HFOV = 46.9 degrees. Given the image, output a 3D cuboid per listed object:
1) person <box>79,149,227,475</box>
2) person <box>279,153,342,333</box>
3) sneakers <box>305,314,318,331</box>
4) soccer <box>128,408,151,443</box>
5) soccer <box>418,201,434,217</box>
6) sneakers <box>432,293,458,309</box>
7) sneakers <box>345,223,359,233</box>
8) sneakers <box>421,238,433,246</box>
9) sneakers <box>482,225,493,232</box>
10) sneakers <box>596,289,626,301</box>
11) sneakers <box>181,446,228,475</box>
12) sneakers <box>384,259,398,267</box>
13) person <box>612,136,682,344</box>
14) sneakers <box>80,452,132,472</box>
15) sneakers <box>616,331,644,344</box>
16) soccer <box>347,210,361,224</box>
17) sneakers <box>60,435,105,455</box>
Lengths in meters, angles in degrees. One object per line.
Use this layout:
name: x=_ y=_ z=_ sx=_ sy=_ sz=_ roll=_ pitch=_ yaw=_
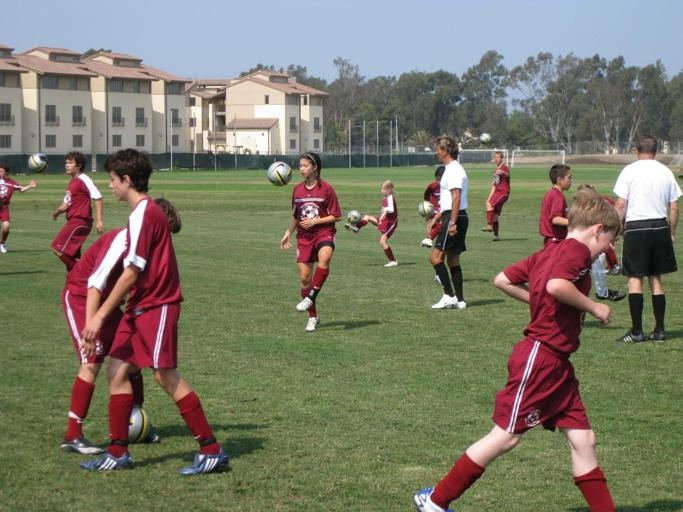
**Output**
person: x=-1.366 y=0.388 z=5.802 sx=1.056 sy=2.321 sz=0.594 roll=1 pitch=10 yaw=7
person: x=-0.377 y=-0.215 z=9.797 sx=0.716 sy=2.128 sz=1.054 roll=-1 pitch=10 yaw=-6
sneakers: x=-0.362 y=0.794 z=9.611 sx=0.164 sy=0.170 sz=0.333 roll=0 pitch=10 yaw=-2
soccer: x=-1.630 y=1.316 z=6.263 sx=0.234 sy=0.247 sz=0.263 roll=-2 pitch=39 yaw=-19
soccer: x=1.691 y=-0.970 z=16.104 sx=0.331 sy=0.329 sz=0.257 roll=0 pitch=-29 yaw=19
sneakers: x=1.438 y=0.609 z=10.821 sx=0.418 sy=0.187 sz=0.151 roll=-5 pitch=5 yaw=-6
sneakers: x=0.164 y=-0.567 z=15.715 sx=0.179 sy=0.146 sz=0.372 roll=-11 pitch=21 yaw=-32
sneakers: x=1.641 y=-0.277 z=15.117 sx=0.134 sy=0.109 sz=0.252 roll=6 pitch=8 yaw=1
sneakers: x=3.728 y=-0.717 z=20.259 sx=0.315 sy=0.136 sz=0.115 roll=1 pitch=1 yaw=32
sneakers: x=3.980 y=0.561 z=11.585 sx=0.518 sy=0.223 sz=0.178 roll=-2 pitch=9 yaw=-7
sneakers: x=-0.981 y=1.508 z=5.813 sx=0.399 sy=0.159 sz=0.137 roll=-7 pitch=2 yaw=-15
sneakers: x=0.889 y=0.123 z=14.558 sx=0.268 sy=0.112 sz=0.100 roll=1 pitch=7 yaw=32
person: x=3.523 y=-0.051 z=9.090 sx=0.740 sy=2.014 sz=0.610 roll=1 pitch=10 yaw=4
sneakers: x=-1.720 y=1.518 z=5.775 sx=0.382 sy=0.143 sz=0.144 roll=1 pitch=-7 yaw=0
sneakers: x=3.331 y=0.935 z=9.083 sx=0.326 sy=0.135 sz=0.118 roll=0 pitch=2 yaw=26
soccer: x=0.227 y=-0.803 z=16.068 sx=0.284 sy=0.233 sz=0.229 roll=-15 pitch=30 yaw=13
sneakers: x=-1.983 y=1.447 z=6.061 sx=0.345 sy=0.134 sz=0.135 roll=2 pitch=-2 yaw=6
